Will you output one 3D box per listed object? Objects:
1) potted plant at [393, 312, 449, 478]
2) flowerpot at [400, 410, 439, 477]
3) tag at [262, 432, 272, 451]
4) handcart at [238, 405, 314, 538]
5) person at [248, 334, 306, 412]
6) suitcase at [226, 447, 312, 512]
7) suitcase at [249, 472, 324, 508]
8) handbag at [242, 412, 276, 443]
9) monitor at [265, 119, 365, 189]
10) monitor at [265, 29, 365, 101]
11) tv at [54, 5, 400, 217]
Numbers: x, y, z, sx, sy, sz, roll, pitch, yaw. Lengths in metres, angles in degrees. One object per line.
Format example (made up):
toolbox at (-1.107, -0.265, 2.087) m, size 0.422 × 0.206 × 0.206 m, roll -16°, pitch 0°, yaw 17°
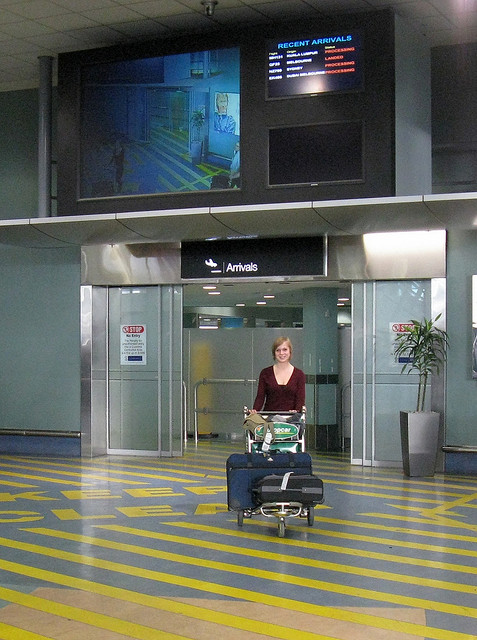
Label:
potted plant at (2.639, 1.039, 8.398) m, size 0.788 × 2.283 × 0.796 m, roll 0°, pitch -2°, yaw 14°
flowerpot at (2.536, 1.724, 8.164) m, size 0.517 × 0.903 × 0.347 m, roll 0°, pitch -2°, yaw 15°
tag at (0.258, 1.083, 5.207) m, size 0.084 × 0.140 × 0.034 m, roll 14°, pitch -5°, yaw 4°
handcart at (0.428, 1.375, 5.420) m, size 0.750 × 1.174 × 1.077 m, roll 1°, pitch -12°, yaw -4°
person at (0.404, 0.545, 5.771) m, size 0.485 × 0.744 × 0.510 m, roll 0°, pitch -2°, yaw 8°
suitcase at (0.282, 1.408, 5.331) m, size 0.764 × 0.572 × 0.262 m, roll 0°, pitch 11°, yaw -4°
suitcase at (0.440, 1.416, 4.984) m, size 0.433 × 0.172 × 0.422 m, roll -1°, pitch -5°, yaw 2°
handbag at (0.181, 0.960, 5.257) m, size 0.172 × 0.099 × 0.281 m, roll 15°, pitch 12°, yaw -39°
monitor at (1.038, -2.117, 7.480) m, size 1.074 × 0.655 × 0.036 m, roll 0°, pitch 0°, yaw 23°
monitor at (0.968, -3.277, 7.520) m, size 1.296 × 0.761 × 0.031 m, roll -4°, pitch 31°, yaw 4°
tv at (-0.279, -2.780, 7.976) m, size 4.687 × 2.552 × 0.289 m, roll 0°, pitch -2°, yaw 18°
